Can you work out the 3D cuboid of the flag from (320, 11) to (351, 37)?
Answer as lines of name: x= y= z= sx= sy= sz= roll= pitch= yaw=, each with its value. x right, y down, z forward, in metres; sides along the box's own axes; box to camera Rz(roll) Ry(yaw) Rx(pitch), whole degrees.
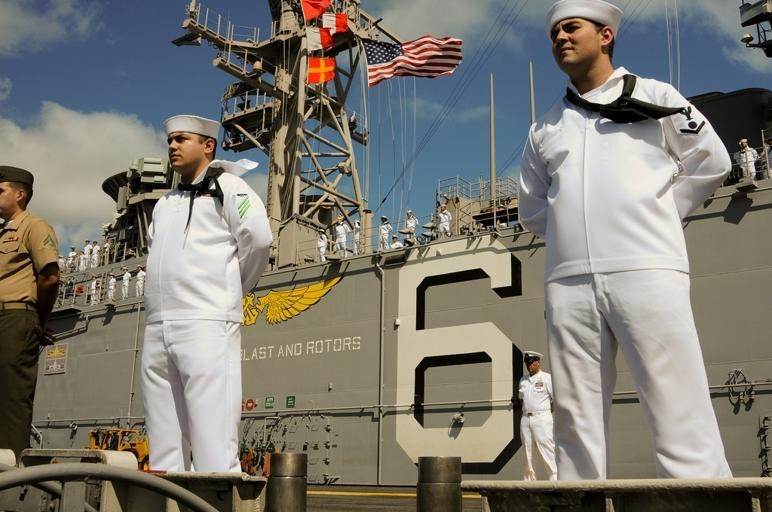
flag: x=-1.233 y=-4.971 z=20.315 sx=0.768 sy=0.735 sz=0.133 roll=-1 pitch=-12 yaw=-4

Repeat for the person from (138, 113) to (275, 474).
person: x=-1.512 y=0.431 z=7.540 sx=1.008 sy=2.483 sz=0.494 roll=-1 pitch=-8 yaw=-9

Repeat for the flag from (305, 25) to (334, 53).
flag: x=-1.598 y=-4.642 z=20.181 sx=0.792 sy=0.810 sz=0.164 roll=1 pitch=-22 yaw=-5
